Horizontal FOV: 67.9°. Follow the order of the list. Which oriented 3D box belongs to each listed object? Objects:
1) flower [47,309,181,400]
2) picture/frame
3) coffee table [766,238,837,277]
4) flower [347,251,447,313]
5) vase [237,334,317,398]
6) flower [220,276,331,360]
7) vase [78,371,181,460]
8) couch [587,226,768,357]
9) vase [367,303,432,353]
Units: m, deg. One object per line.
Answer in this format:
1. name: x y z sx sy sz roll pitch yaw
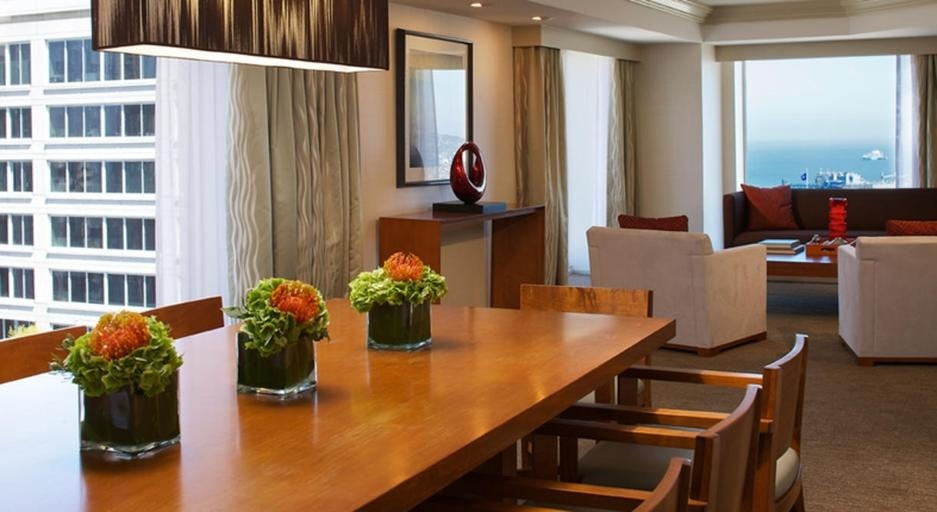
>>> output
1. flower: -1.347 0.359 2.587 0.485 0.304 0.440 -7 -17 6
2. picture/frame: -0.363 -1.468 6.935 0.270 1.475 1.185 8 16 32
3. coffee table: 3.507 0.038 7.322 0.681 0.262 0.969 6 16 24
4. flower: -0.335 0.100 3.276 0.451 0.208 0.424 -9 19 -32
5. vase: -0.794 0.441 2.888 0.253 0.230 0.256 -1 -2 14
6. flower: -0.746 0.190 2.842 0.311 0.327 0.188 1 -39 -9
7. vase: -1.278 0.598 2.627 0.382 0.342 0.456 1 -12 -25
8. couch: 1.922 0.173 6.412 1.240 1.149 1.290 1 5 43
9. vase: -0.316 0.309 3.297 0.277 0.240 0.268 -2 1 -34
